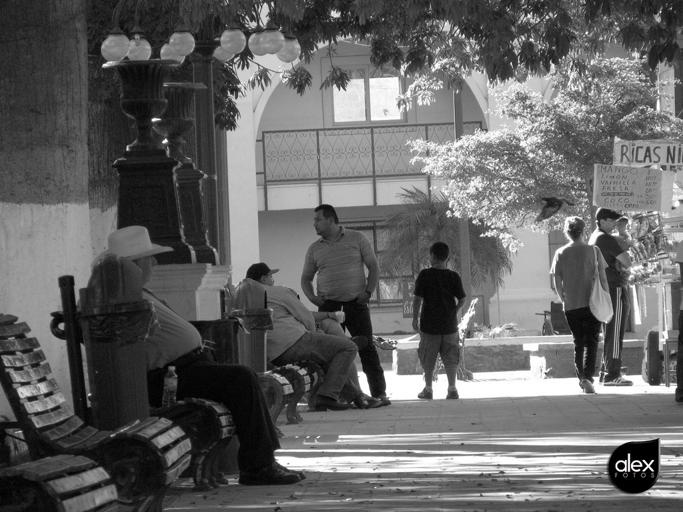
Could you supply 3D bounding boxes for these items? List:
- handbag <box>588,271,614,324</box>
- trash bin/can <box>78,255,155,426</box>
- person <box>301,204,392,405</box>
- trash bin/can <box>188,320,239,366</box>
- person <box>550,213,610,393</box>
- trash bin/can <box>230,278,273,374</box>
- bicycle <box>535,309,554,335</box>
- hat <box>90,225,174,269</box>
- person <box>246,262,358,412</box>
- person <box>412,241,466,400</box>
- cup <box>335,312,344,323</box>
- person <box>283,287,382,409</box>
[{"bbox_3d":[2.728,0.431,15.354,0.239,0.515,0.250,-1,4,26],"label":"handbag"},{"bbox_3d":[-1.609,0.583,10.264,0.577,1.156,0.555,2,3,-15],"label":"trash bin/can"},{"bbox_3d":[0.004,0.403,15.370,0.828,2.171,0.681,2,1,-10],"label":"person"},{"bbox_3d":[-1.009,0.673,11.454,0.424,0.381,0.270,2,0,9],"label":"trash bin/can"},{"bbox_3d":[2.573,0.543,15.529,0.614,1.904,0.751,-2,4,8],"label":"person"},{"bbox_3d":[-0.762,0.608,12.702,0.353,0.756,0.403,2,2,-2],"label":"trash bin/can"},{"bbox_3d":[3.506,1.138,25.207,0.435,0.457,0.457,-1,1,26],"label":"bicycle"},{"bbox_3d":[-1.536,-0.078,10.660,0.468,0.338,0.413,7,1,-9],"label":"hat"},{"bbox_3d":[-0.402,0.766,13.859,0.958,1.487,1.015,4,2,-33],"label":"person"},{"bbox_3d":[1.092,0.670,15.585,0.681,1.563,0.575,0,0,10],"label":"person"},{"bbox_3d":[-0.019,0.617,14.767,0.077,0.114,0.050,4,-2,-37],"label":"cup"},{"bbox_3d":[-0.369,0.763,14.113,0.978,1.400,0.593,-4,-8,-12],"label":"person"}]
